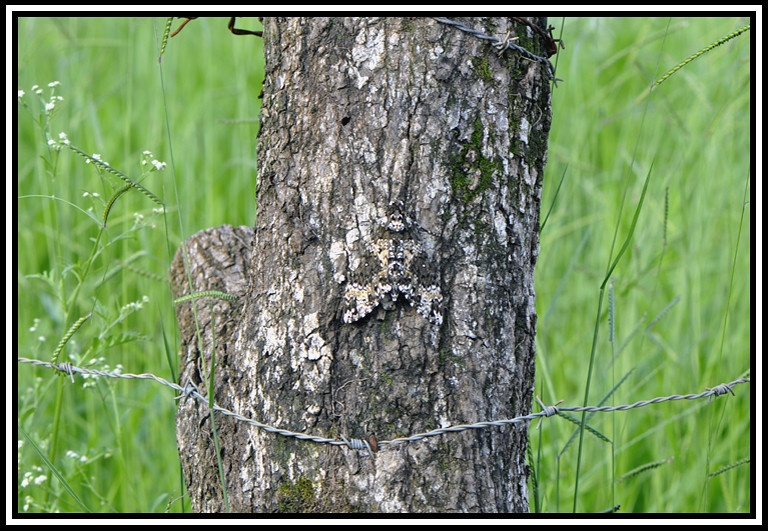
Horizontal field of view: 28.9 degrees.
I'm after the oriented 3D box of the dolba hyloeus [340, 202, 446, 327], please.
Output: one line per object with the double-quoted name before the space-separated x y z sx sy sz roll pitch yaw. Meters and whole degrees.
"dolba hyloeus" 0.074 -0.039 8.457 0.485 0.688 0.174 2 3 0
